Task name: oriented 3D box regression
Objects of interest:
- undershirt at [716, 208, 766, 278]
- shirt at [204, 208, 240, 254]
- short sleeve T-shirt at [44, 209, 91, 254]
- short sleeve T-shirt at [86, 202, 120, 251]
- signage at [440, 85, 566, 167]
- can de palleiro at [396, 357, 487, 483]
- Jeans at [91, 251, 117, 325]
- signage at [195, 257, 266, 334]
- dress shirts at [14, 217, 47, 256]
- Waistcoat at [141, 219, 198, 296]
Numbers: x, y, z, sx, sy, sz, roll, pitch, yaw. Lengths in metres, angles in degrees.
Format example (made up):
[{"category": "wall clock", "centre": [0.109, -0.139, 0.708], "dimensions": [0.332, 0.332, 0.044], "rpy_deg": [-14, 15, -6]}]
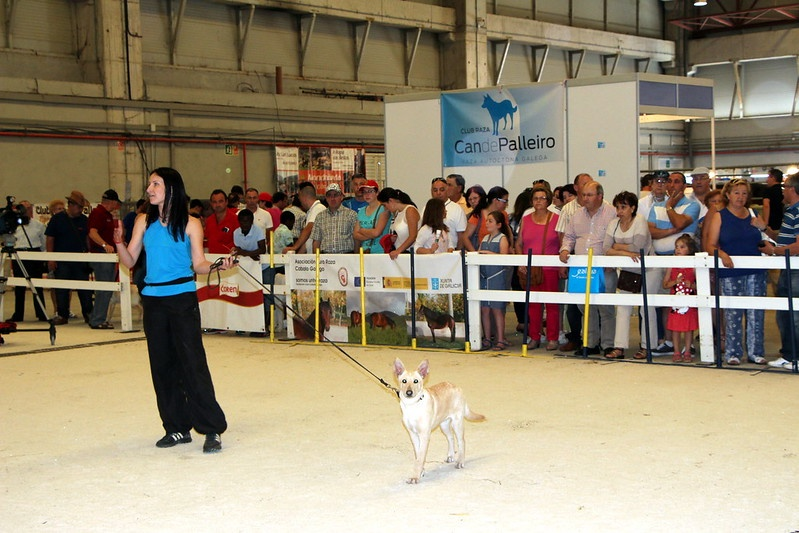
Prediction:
[{"category": "undershirt", "centre": [5.387, -0.374, 14.753], "dimensions": [0.727, 1.149, 0.585], "rpy_deg": [3, -11, 23]}, {"category": "shirt", "centre": [-3.506, -0.601, 18.058], "dimensions": [0.838, 1.000, 0.545], "rpy_deg": [4, 3, 25]}, {"category": "short sleeve T-shirt", "centre": [-7.151, -0.638, 20.005], "dimensions": [1.263, 1.184, 0.683], "rpy_deg": [-2, 0, -43]}, {"category": "short sleeve T-shirt", "centre": [-6.262, -0.794, 19.420], "dimensions": [0.473, 1.027, 0.895], "rpy_deg": [0, 8, 5]}, {"category": "signage", "centre": [2.201, -2.942, 19.692], "dimensions": [2.715, 1.769, 0.290], "rpy_deg": [6, 15, 24]}, {"category": "can de palleiro", "centre": [0.412, 1.775, 11.282], "dimensions": [1.000, 1.481, 0.512], "rpy_deg": [-15, 19, -43]}, {"category": "Jeans", "centre": [-6.134, 0.520, 19.087], "dimensions": [0.375, 1.524, 0.375], "rpy_deg": [-2, -16, -7]}, {"category": "signage", "centre": [-3.253, 0.523, 17.346], "dimensions": [0.074, 1.396, 1.752], "rpy_deg": [-10, -12, 43]}, {"category": "dress shirts", "centre": [-8.359, -0.601, 20.708], "dimensions": [0.834, 0.913, 0.480], "rpy_deg": [-6, -19, -24]}, {"category": "Waistcoat", "centre": [-3.060, -0.135, 12.173], "dimensions": [0.603, 0.985, 0.540], "rpy_deg": [2, 7, 17]}]
